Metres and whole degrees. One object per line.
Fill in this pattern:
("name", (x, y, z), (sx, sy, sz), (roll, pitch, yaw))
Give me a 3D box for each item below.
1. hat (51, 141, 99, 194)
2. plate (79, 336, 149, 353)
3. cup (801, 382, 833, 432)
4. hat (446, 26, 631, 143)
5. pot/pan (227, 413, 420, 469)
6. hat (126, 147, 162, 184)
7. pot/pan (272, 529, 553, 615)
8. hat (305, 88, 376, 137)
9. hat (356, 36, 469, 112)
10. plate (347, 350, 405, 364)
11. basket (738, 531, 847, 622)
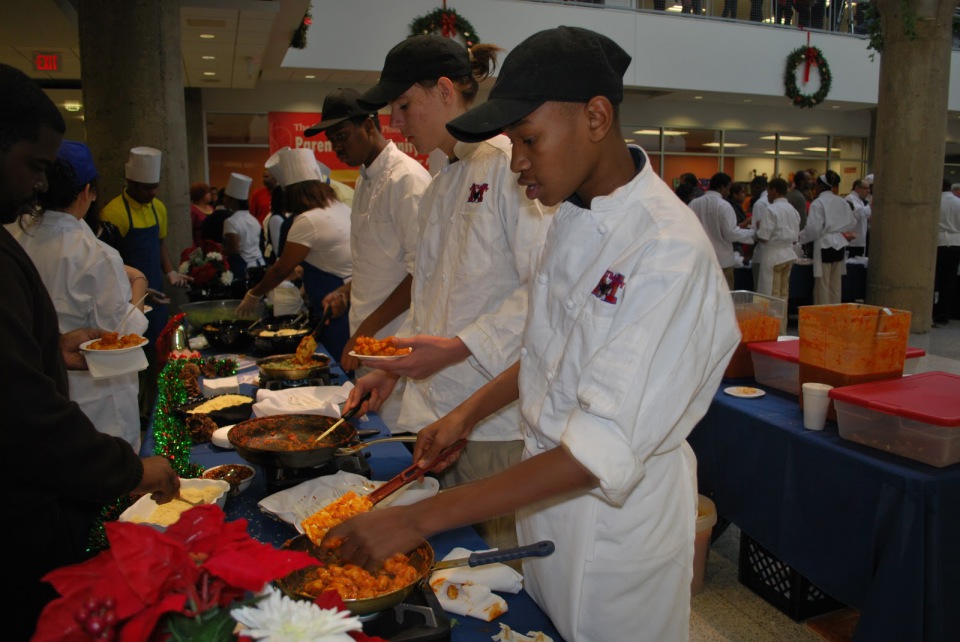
("hat", (-1.826, -0.728, 3.298), (0.202, 0.200, 0.154), (0, 18, 8))
("plate", (-1.400, 0.090, 2.695), (0.249, 0.049, 0.191), (-1, 9, -11))
("cup", (1.364, 0.355, 2.949), (0.116, 0.162, 0.125), (3, -2, 0))
("hat", (0.149, -0.613, 1.846), (0.465, 0.278, 0.302), (-6, 15, -6))
("pot/pan", (-0.615, 0.398, 2.405), (0.430, 0.070, 0.272), (3, 4, 1))
("hat", (-2.429, -1.115, 5.123), (0.212, 0.250, 0.293), (-3, 16, -35))
("pot/pan", (-0.187, 0.625, 1.748), (0.480, 0.102, 0.280), (1, -1, -4))
("hat", (-0.660, -1.079, 3.607), (0.387, 0.212, 0.248), (-12, 4, 1))
("hat", (-0.260, -0.978, 2.719), (0.436, 0.228, 0.286), (-14, 10, -4))
("plate", (-0.348, 0.117, 2.388), (0.217, 0.037, 0.096), (3, 9, 14))
("basket", (1.524, 1.167, 3.287), (0.312, 0.306, 0.326), (-4, -13, -2))
